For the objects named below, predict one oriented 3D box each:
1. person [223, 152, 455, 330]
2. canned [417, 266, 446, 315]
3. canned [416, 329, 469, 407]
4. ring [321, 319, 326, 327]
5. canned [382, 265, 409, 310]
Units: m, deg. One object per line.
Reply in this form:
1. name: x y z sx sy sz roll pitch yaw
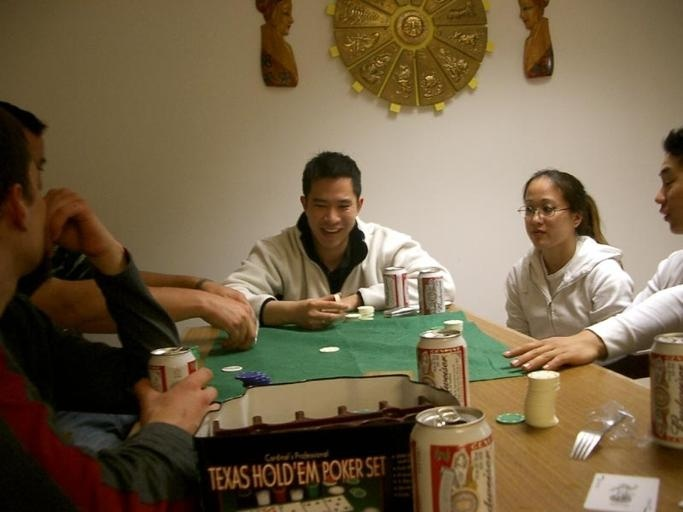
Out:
1. person: -0.047 -0.009 2.670 1.165 0.981 0.854 0 5 -6
2. canned: 0.380 0.152 2.140 0.112 0.196 0.110 -15 21 -30
3. canned: 0.233 0.265 1.125 0.105 0.183 0.107 -5 0 -10
4. ring: -0.071 0.281 2.069 0.023 0.012 0.024 0 -51 0
5. canned: 0.255 0.140 2.322 0.148 0.209 0.152 5 27 19
